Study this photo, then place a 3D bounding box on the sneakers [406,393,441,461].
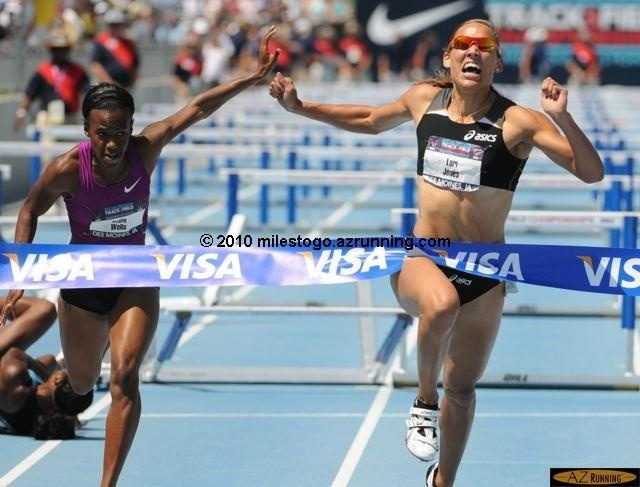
[{"bbox_3d":[0.636,1.156,7.021,0.179,0.174,0.426,10,12,-6],"label":"sneakers"}]
